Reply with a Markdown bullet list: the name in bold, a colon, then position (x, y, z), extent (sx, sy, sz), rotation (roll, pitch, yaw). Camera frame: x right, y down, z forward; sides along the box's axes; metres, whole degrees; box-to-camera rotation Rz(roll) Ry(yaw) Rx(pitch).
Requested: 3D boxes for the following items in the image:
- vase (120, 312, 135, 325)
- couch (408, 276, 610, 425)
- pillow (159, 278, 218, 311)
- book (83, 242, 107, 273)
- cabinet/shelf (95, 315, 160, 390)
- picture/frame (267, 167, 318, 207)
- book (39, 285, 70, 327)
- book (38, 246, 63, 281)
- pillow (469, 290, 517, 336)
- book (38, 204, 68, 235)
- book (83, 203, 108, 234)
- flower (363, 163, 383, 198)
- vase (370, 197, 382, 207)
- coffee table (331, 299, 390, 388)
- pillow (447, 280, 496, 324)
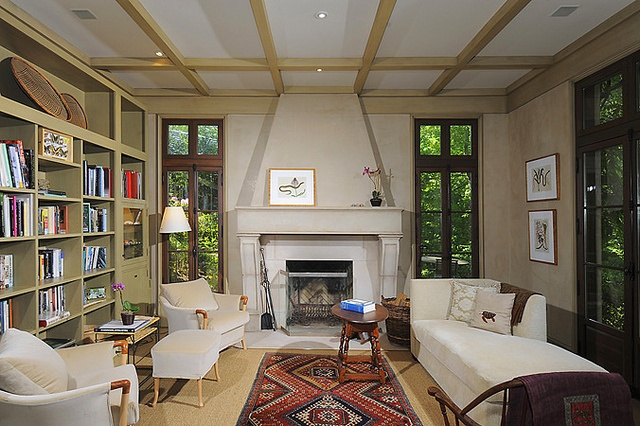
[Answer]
- **vase**: position (-2.313, 1.265, 5.182), extent (0.148, 0.111, 0.146), rotation (2, -3, -35)
- **couch**: position (2.019, 1.018, 5.025), extent (1.316, 1.238, 2.354), rotation (2, -4, -5)
- **pillow**: position (-1.848, 1.142, 6.112), extent (0.805, 0.206, 0.802), rotation (-5, 31, -23)
- **book**: position (-3.149, 0.606, 6.011), extent (0.313, 0.411, 0.421), rotation (1, -3, 1)
- **cabinet/shelf**: position (-2.457, 1.843, 5.470), extent (0.667, 0.710, 1.136), rotation (0, -3, -1)
- **picture/frame**: position (-0.458, -0.420, 7.018), extent (0.756, 0.603, 0.039), rotation (1, 4, 6)
- **book**: position (-3.290, 1.127, 5.290), extent (0.224, 0.400, 0.457), rotation (3, 12, 11)
- **book**: position (-3.373, 0.614, 5.448), extent (0.450, 0.423, 0.330), rotation (-2, -3, 29)
- **pillow**: position (2.131, 1.235, 5.259), extent (0.472, 0.455, 0.172), rotation (-5, -29, 47)
- **book**: position (-3.317, 0.090, 5.539), extent (0.339, 0.348, 0.425), rotation (-2, 3, -19)
- **book**: position (-3.104, 0.099, 5.958), extent (0.328, 0.418, 0.442), rotation (1, -3, 3)
- **flower**: position (0.862, -0.517, 7.060), extent (0.339, 0.483, 0.195), rotation (2, 13, 6)
- **vase**: position (0.905, -0.171, 6.904), extent (0.141, 0.086, 0.139), rotation (0, -1, -18)
- **coffee table**: position (0.380, 1.676, 5.598), extent (0.798, 0.881, 0.823), rotation (0, -4, -3)
- **pillow**: position (1.870, 1.193, 5.654), extent (0.533, 0.495, 0.199), rotation (15, -9, -26)
